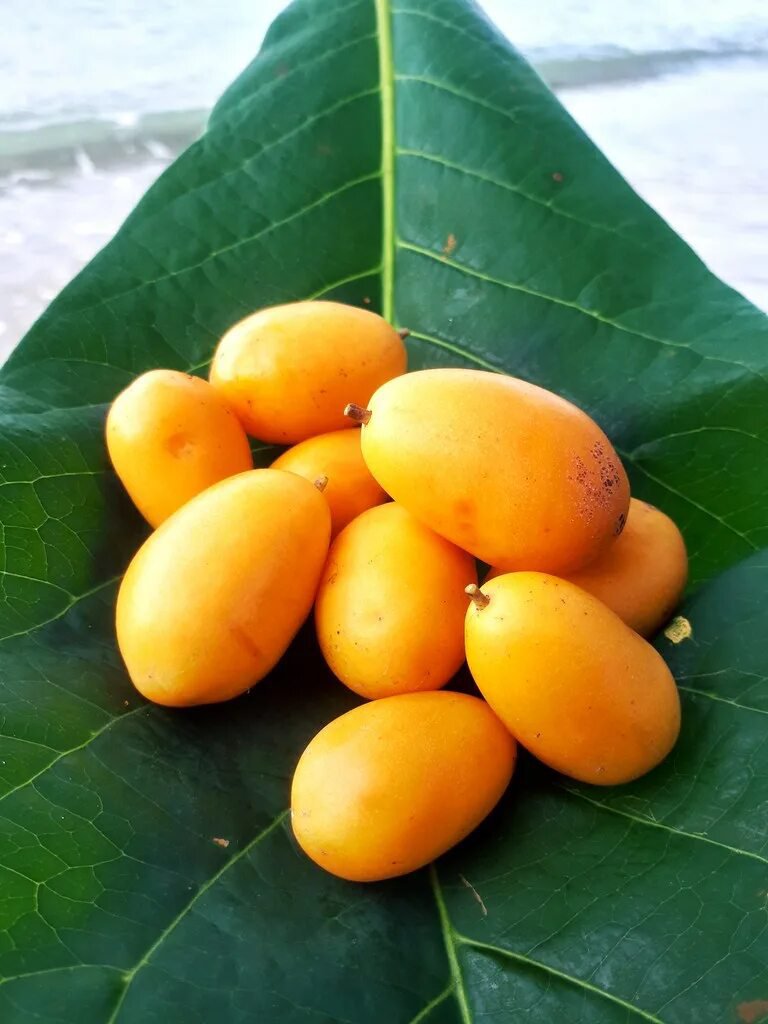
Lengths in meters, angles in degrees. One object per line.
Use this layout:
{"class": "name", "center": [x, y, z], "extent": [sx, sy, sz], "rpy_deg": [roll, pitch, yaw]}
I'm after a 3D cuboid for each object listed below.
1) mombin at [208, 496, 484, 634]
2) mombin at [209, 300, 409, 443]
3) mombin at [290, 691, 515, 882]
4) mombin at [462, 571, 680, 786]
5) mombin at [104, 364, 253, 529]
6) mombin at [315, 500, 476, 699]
{"class": "mombin", "center": [-0.014, 0.028, 0.523], "extent": [0.069, 0.071, 0.065], "rpy_deg": [7, 6, -39]}
{"class": "mombin", "center": [-0.047, -0.073, 0.622], "extent": [0.112, 0.053, 0.067], "rpy_deg": [-15, 0, -12]}
{"class": "mombin", "center": [0.006, 0.112, 0.469], "extent": [0.110, 0.058, 0.058], "rpy_deg": [-11, 15, -18]}
{"class": "mombin", "center": [0.080, 0.066, 0.511], "extent": [0.116, 0.064, 0.067], "rpy_deg": [34, 3, -2]}
{"class": "mombin", "center": [-0.107, -0.043, 0.595], "extent": [0.091, 0.052, 0.063], "rpy_deg": [-12, -5, 26]}
{"class": "mombin", "center": [0.003, 0.046, 0.563], "extent": [0.082, 0.082, 0.072], "rpy_deg": [-12, -4, -17]}
